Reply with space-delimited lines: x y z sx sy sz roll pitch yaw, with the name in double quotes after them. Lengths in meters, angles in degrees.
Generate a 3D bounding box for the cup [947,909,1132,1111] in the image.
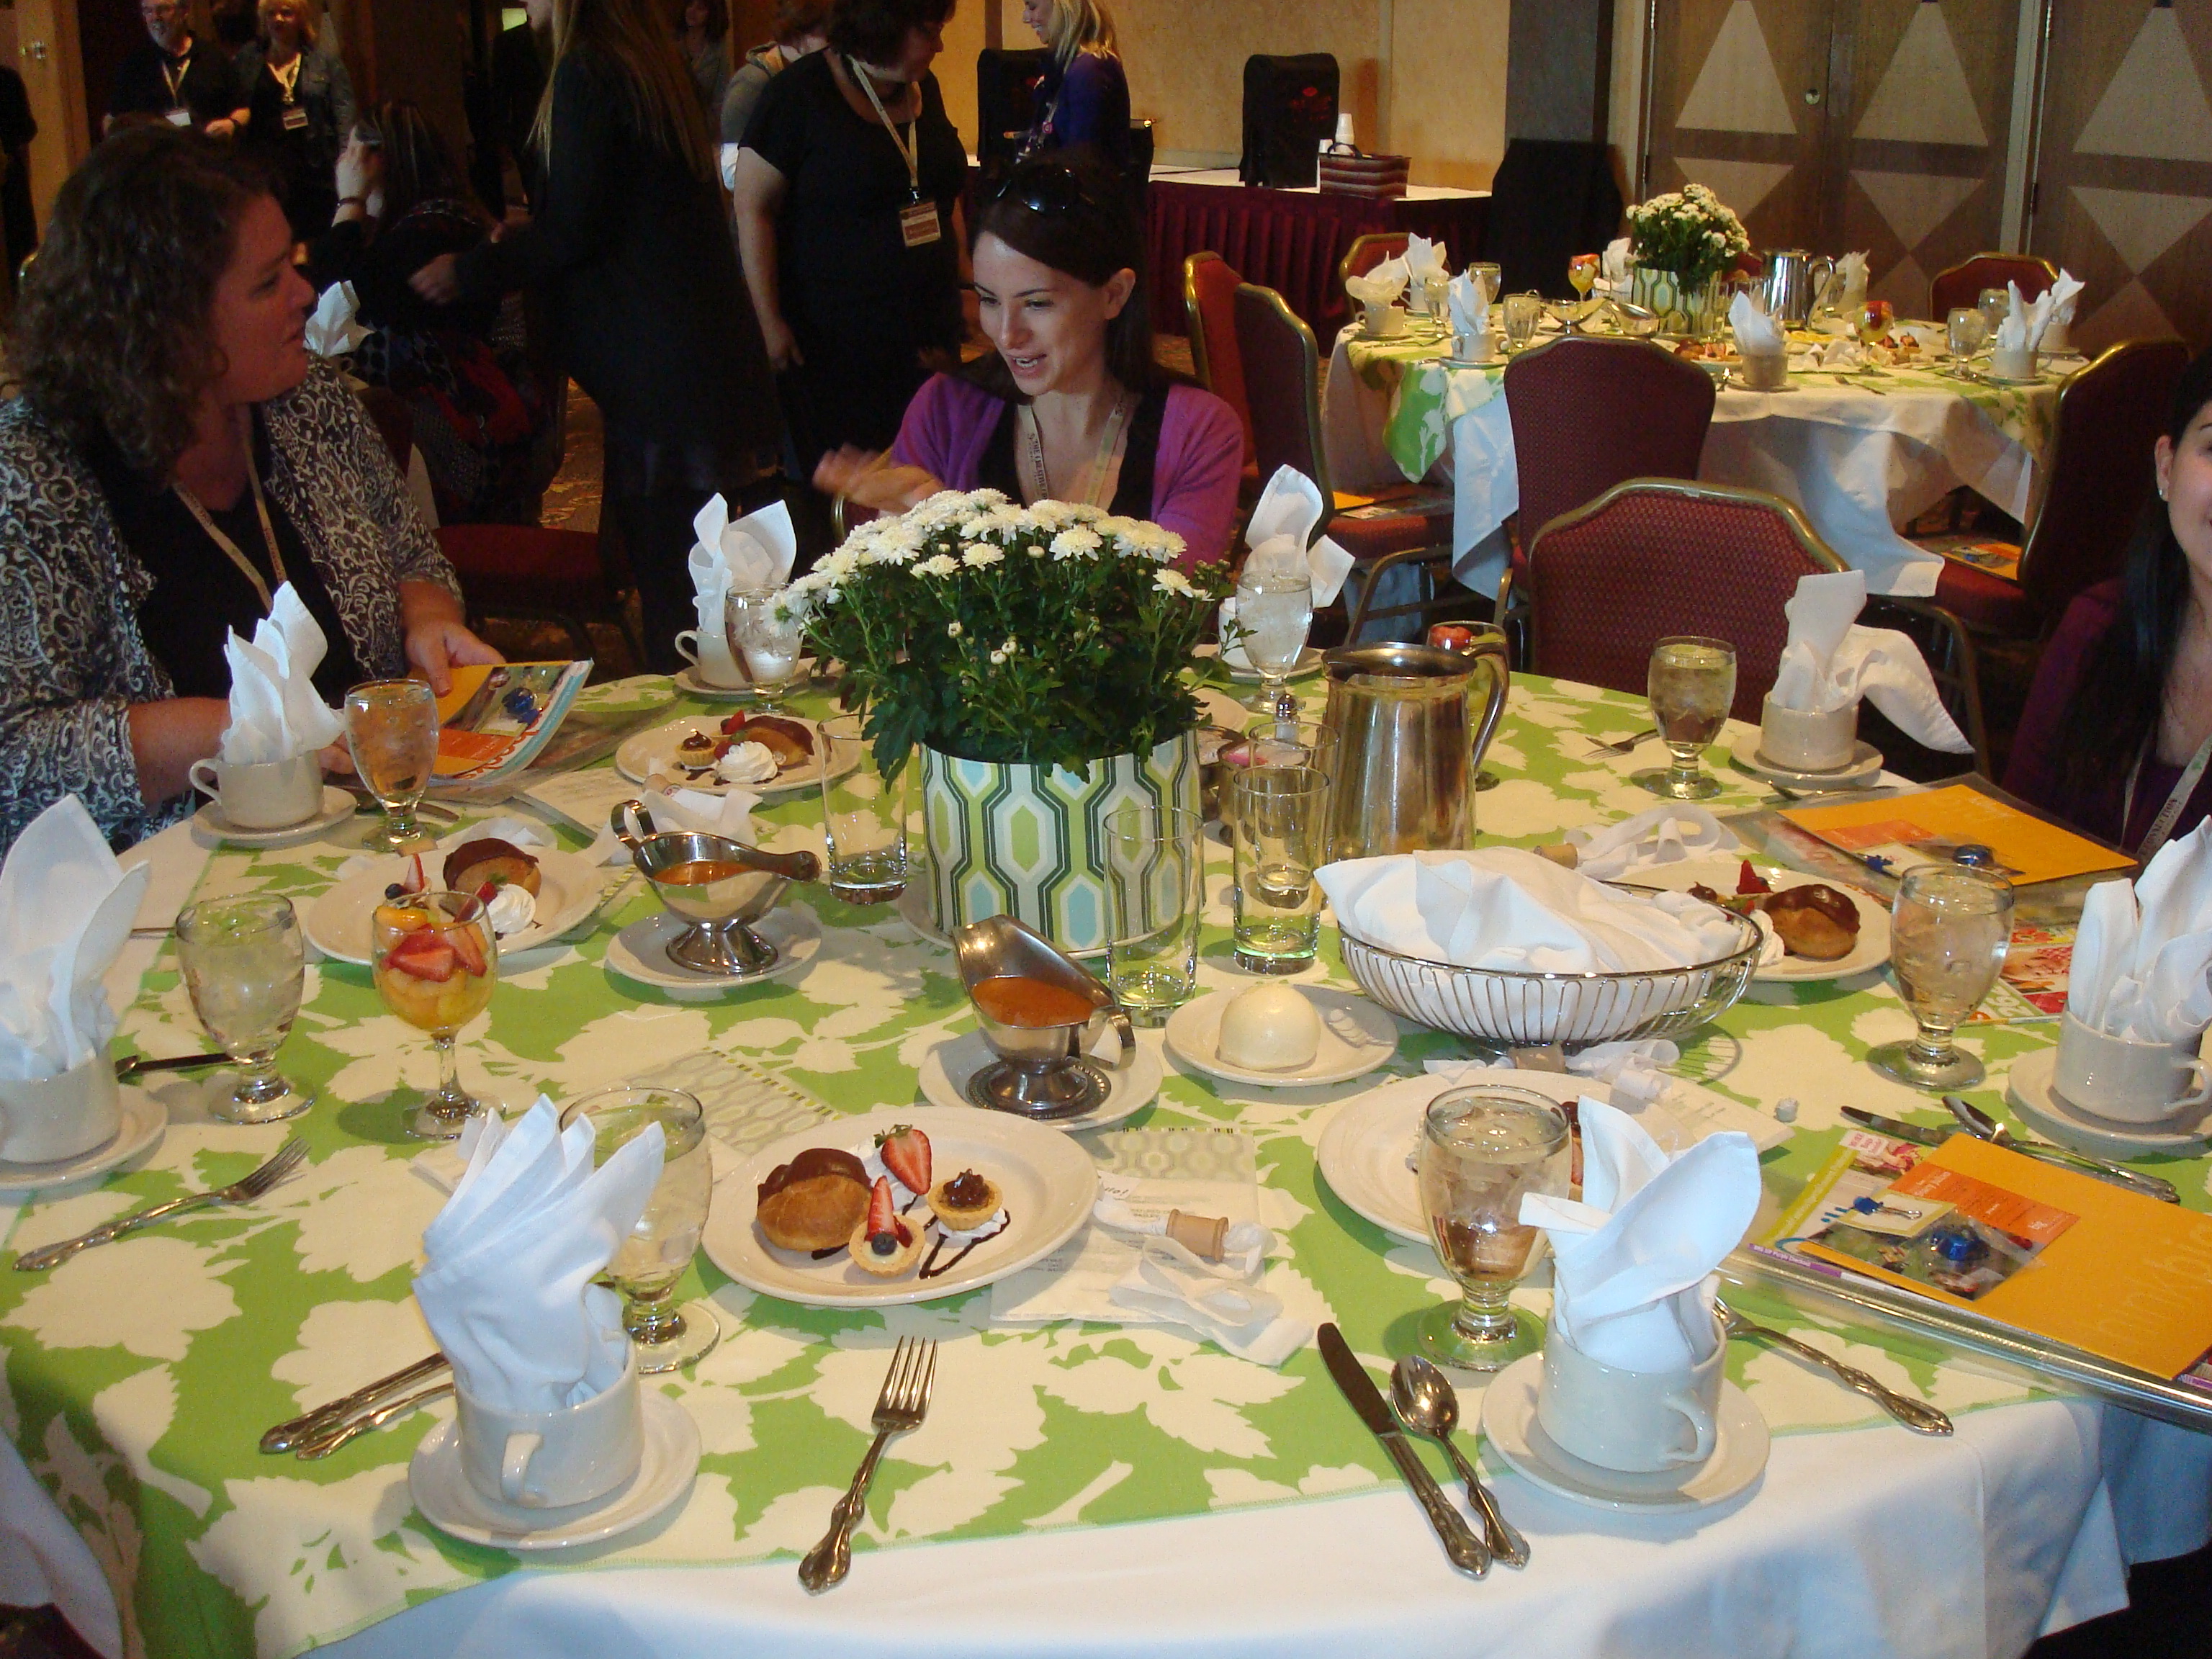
-0.066 0.165 1.582 0.165 0.121 0.124 28 34 28 "cup"

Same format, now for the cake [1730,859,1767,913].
0.688 0.061 1.819 0.028 0.066 0.091 0 7 7 "cake"

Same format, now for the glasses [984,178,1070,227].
-0.135 -1.062 2.843 0.080 0.039 0.099 -4 41 7 "glasses"

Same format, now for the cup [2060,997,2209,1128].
0.886 0.207 1.482 0.077 0.066 0.106 -8 16 -32 "cup"

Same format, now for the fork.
-0.156 0.427 1.158 0.028 0.027 0.229 8 33 10 "fork"

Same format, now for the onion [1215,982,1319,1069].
0.154 0.195 1.627 0.069 0.050 0.075 0 21 2 "onion"

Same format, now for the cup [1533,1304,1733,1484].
0.354 0.385 1.124 0.087 0.077 0.126 1 20 4 "cup"

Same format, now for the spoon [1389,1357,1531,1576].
0.243 0.426 1.142 0.032 0.024 0.164 4 19 -9 "spoon"

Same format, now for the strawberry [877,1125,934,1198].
-0.163 0.269 1.391 0.038 0.053 0.029 -15 -13 -39 "strawberry"

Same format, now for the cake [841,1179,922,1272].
-0.179 0.313 1.319 0.047 0.034 0.066 -5 64 -7 "cake"

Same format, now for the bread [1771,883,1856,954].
0.727 0.092 1.769 0.067 0.046 0.071 4 16 -34 "bread"

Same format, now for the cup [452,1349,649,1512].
-0.371 0.409 1.121 0.093 0.076 0.099 0 6 0 "cup"
